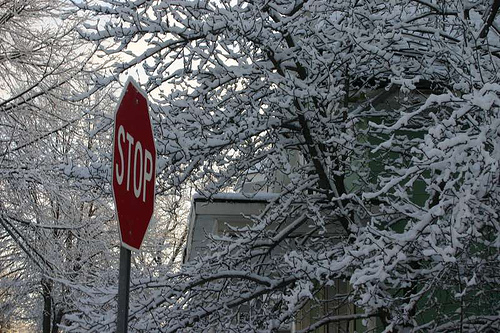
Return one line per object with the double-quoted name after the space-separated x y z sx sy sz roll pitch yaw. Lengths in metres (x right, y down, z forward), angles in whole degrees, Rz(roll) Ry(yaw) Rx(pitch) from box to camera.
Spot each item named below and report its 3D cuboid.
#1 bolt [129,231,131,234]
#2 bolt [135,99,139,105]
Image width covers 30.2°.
-1.656 0.904 12.836 0.024 0.030 0.017 6 -32 -21 "bolt"
-1.592 -0.917 13.070 0.042 0.075 0.018 -8 9 -32 "bolt"
